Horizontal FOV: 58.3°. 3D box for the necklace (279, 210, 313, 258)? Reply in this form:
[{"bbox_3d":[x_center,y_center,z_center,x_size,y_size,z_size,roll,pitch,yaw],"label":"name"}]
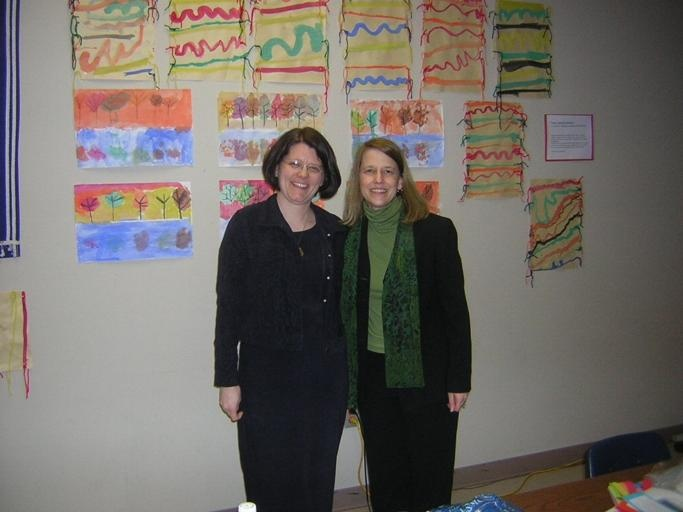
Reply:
[{"bbox_3d":[-0.207,-0.108,3.002,0.143,0.215,0.051,0,-4,-14],"label":"necklace"}]
